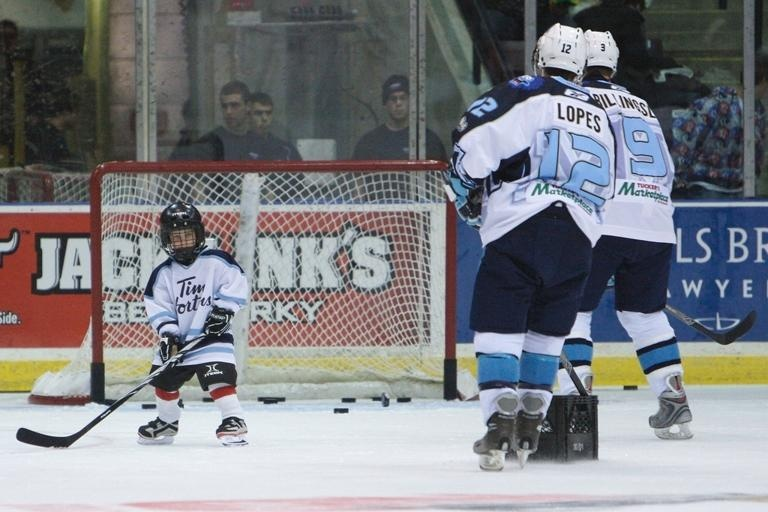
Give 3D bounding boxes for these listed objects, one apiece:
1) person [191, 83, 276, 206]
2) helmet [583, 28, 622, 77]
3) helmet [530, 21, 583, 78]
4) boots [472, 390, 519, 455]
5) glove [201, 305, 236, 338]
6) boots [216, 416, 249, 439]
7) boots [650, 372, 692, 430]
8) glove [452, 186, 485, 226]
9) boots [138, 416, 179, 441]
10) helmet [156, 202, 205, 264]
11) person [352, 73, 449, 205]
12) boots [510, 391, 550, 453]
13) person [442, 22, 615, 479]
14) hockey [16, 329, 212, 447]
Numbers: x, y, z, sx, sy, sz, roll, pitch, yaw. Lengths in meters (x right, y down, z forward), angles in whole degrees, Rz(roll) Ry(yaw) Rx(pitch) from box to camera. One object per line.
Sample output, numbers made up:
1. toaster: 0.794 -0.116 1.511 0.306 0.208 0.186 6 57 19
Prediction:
1. person: -1.008 -0.764 9.868 0.547 0.798 0.265 -3 11 -7
2. helmet: 1.257 -1.193 8.616 0.234 0.228 0.257 3 26 3
3. helmet: 0.937 -1.106 7.986 0.263 0.268 0.283 11 35 -3
4. boots: 0.644 0.840 7.781 0.183 0.305 0.464 5 9 0
5. glove: -0.937 0.376 8.392 0.146 0.164 0.063 9 2 -30
6. boots: -0.844 0.959 8.186 0.093 0.078 0.179 4 -1 -40
7. boots: 1.635 0.854 8.442 0.235 0.348 0.259 0 11 5
8. glove: 0.455 -0.265 7.825 0.197 0.140 0.094 48 30 12
9. boots: -1.270 0.993 8.343 0.272 0.118 0.092 2 7 -18
10. helmet: -1.161 -0.138 8.469 0.274 0.335 0.354 -11 7 -8
11. person: 0.097 -0.791 9.875 0.631 0.835 0.386 -1 11 1
12. boots: 0.761 0.853 7.673 0.131 0.163 0.364 5 48 5
13. person: 0.781 0.081 7.675 0.841 1.996 0.578 -2 11 -1
14. hockey: -1.598 0.815 8.912 1.226 0.098 0.168 -26 56 -27
